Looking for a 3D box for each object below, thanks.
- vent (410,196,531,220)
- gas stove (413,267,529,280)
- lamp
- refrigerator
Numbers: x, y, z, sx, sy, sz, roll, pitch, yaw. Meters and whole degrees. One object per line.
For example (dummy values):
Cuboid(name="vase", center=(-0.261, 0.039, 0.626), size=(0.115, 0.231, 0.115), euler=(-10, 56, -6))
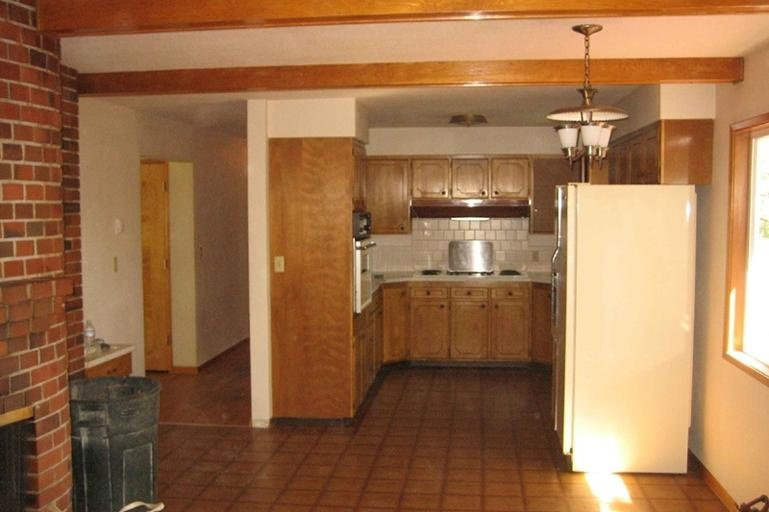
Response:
Cuboid(name="vent", center=(1.116, -0.597, 8.052), size=(1.500, 0.236, 0.284), euler=(1, -6, 4))
Cuboid(name="gas stove", center=(1.106, 0.233, 8.413), size=(1.366, 0.052, 0.566), euler=(1, 9, 5))
Cuboid(name="lamp", center=(1.738, -1.259, 5.531), size=(0.543, 0.961, 2.358), euler=(2, 10, 17))
Cuboid(name="refrigerator", center=(2.092, 0.631, 5.536), size=(1.061, 2.435, 0.406), euler=(0, 9, 2))
